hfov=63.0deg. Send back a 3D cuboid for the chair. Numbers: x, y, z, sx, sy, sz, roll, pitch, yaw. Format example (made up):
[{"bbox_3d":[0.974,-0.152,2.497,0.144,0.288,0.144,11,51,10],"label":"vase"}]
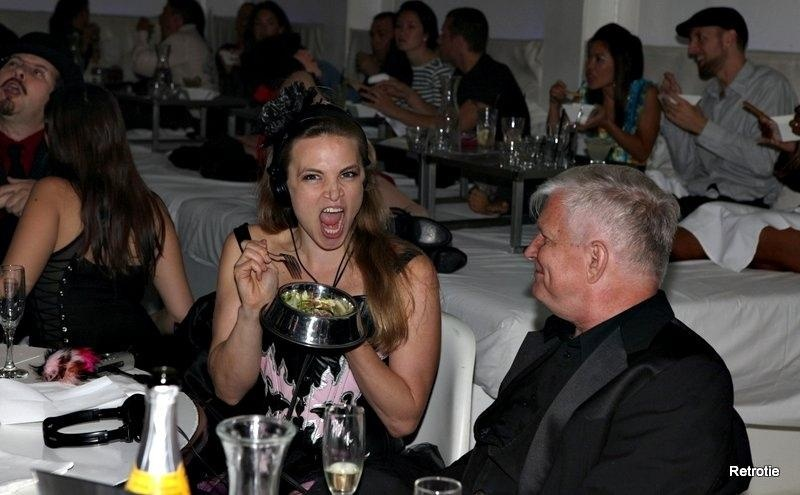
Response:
[{"bbox_3d":[0.173,0.481,2.254,0.139,0.477,0.219,-2,10,-35],"label":"chair"}]

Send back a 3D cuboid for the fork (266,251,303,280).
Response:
[{"bbox_3d":[-0.413,0.062,2.345,0.135,0.081,0.043,7,9,24],"label":"fork"}]

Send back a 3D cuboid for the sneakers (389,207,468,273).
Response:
[{"bbox_3d":[0.149,-0.031,3.313,0.507,0.187,0.213,28,21,-4],"label":"sneakers"}]

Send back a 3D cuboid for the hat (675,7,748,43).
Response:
[{"bbox_3d":[2.121,-1.487,4.390,0.403,0.201,0.302,17,1,11],"label":"hat"}]

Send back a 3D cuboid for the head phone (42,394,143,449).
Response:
[{"bbox_3d":[-0.842,0.455,1.777,0.220,0.087,0.179,-3,16,-29],"label":"head phone"}]

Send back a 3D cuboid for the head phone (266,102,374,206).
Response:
[{"bbox_3d":[-0.278,-0.307,2.195,0.340,0.294,0.127,-5,15,-14],"label":"head phone"}]
